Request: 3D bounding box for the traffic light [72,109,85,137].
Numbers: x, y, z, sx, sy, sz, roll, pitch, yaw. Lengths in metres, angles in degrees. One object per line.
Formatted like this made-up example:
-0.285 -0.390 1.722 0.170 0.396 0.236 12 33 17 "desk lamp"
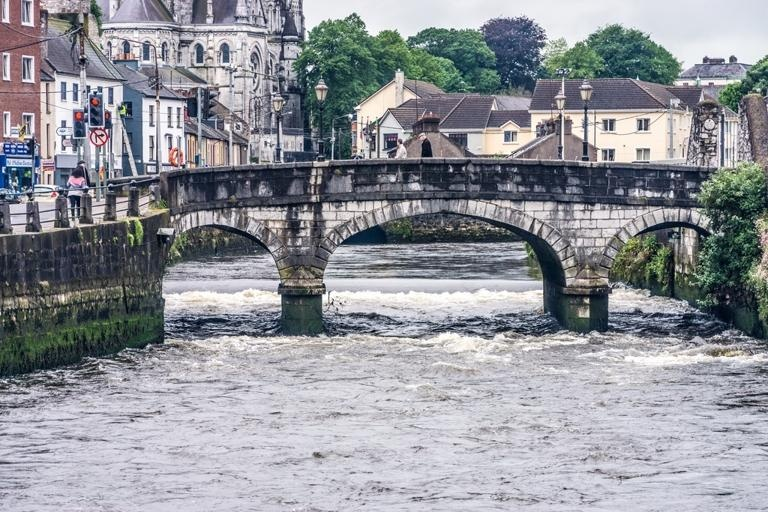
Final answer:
-12.600 -5.449 80.942 0.458 0.987 0.968 2 1 -6 "traffic light"
